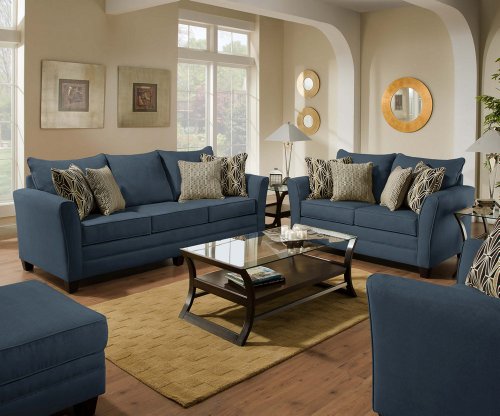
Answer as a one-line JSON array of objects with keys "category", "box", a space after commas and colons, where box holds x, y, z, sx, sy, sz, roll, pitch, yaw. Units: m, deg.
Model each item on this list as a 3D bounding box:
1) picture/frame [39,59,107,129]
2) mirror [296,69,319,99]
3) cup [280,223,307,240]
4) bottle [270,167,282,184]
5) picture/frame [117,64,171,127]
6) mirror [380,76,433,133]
[{"category": "picture/frame", "box": [-2.310, -1.493, 5.054, 0.953, 0.954, 0.063, -6, 13, -39]}, {"category": "mirror", "box": [1.077, -2.307, 7.218, 0.555, 0.568, 0.027, 6, 8, 42]}, {"category": "cup", "box": [0.368, 0.191, 3.174, 0.149, 0.053, 0.116, -5, 11, -28]}, {"category": "bottle", "box": [0.373, -0.476, 5.660, 0.222, 0.316, 0.214, -1, 10, 0]}, {"category": "picture/frame", "box": [-1.563, -1.652, 5.702, 0.938, 0.935, 0.065, -8, 15, -42]}, {"category": "mirror", "box": [2.523, -1.671, 6.237, 0.878, 0.928, 0.032, 11, 11, 43]}]
